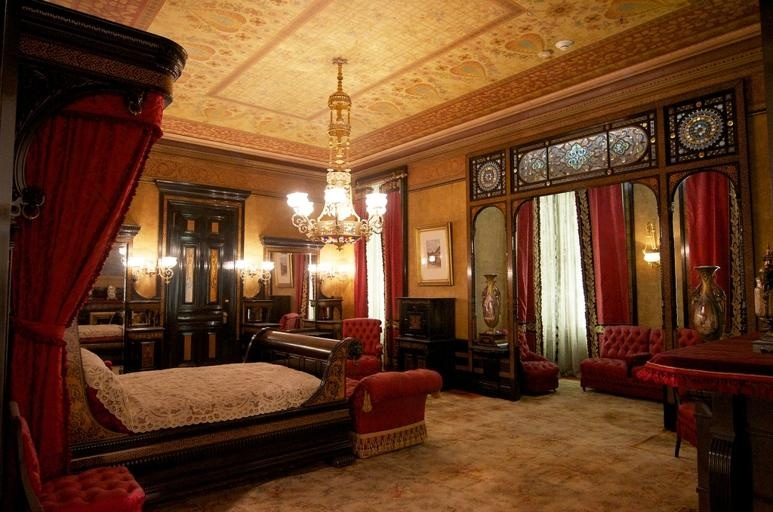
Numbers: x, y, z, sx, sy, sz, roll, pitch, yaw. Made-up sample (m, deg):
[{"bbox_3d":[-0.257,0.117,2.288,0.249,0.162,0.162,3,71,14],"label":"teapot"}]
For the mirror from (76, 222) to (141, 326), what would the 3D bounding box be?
[{"bbox_3d":[-4.599,0.311,8.906,0.962,1.674,0.428,-2,7,-31],"label":"mirror"}]

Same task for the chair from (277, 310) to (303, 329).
[{"bbox_3d":[-1.890,1.251,10.436,0.313,0.357,0.336,-1,-19,-4],"label":"chair"}]

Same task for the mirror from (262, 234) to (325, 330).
[{"bbox_3d":[-1.901,0.565,10.576,1.784,2.110,0.224,6,-11,-43],"label":"mirror"}]

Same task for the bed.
[{"bbox_3d":[-2.074,1.330,6.056,2.653,1.810,1.772,1,-3,-34],"label":"bed"}]

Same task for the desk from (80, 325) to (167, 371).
[{"bbox_3d":[-4.411,1.595,9.488,0.401,0.732,1.234,-14,2,-36],"label":"desk"}]

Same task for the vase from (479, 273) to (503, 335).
[{"bbox_3d":[1.697,0.764,8.723,0.256,0.904,0.546,2,6,6],"label":"vase"}]

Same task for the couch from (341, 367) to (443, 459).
[{"bbox_3d":[-0.080,1.812,6.501,1.389,0.954,0.872,6,-2,-43],"label":"couch"}]

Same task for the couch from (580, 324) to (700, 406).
[{"bbox_3d":[3.964,1.674,8.642,0.634,0.814,1.272,-17,2,-30],"label":"couch"}]

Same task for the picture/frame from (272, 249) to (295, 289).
[{"bbox_3d":[-2.060,0.284,10.647,0.447,0.705,0.141,-2,7,-30],"label":"picture/frame"}]

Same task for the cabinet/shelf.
[{"bbox_3d":[0.700,1.574,9.340,0.742,1.617,1.046,1,-4,-34],"label":"cabinet/shelf"}]

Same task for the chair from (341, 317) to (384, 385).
[{"bbox_3d":[-0.445,1.731,9.449,0.807,1.174,0.893,0,1,10],"label":"chair"}]

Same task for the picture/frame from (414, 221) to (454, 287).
[{"bbox_3d":[0.882,-0.035,9.590,0.135,1.331,1.125,5,-8,-40],"label":"picture/frame"}]
